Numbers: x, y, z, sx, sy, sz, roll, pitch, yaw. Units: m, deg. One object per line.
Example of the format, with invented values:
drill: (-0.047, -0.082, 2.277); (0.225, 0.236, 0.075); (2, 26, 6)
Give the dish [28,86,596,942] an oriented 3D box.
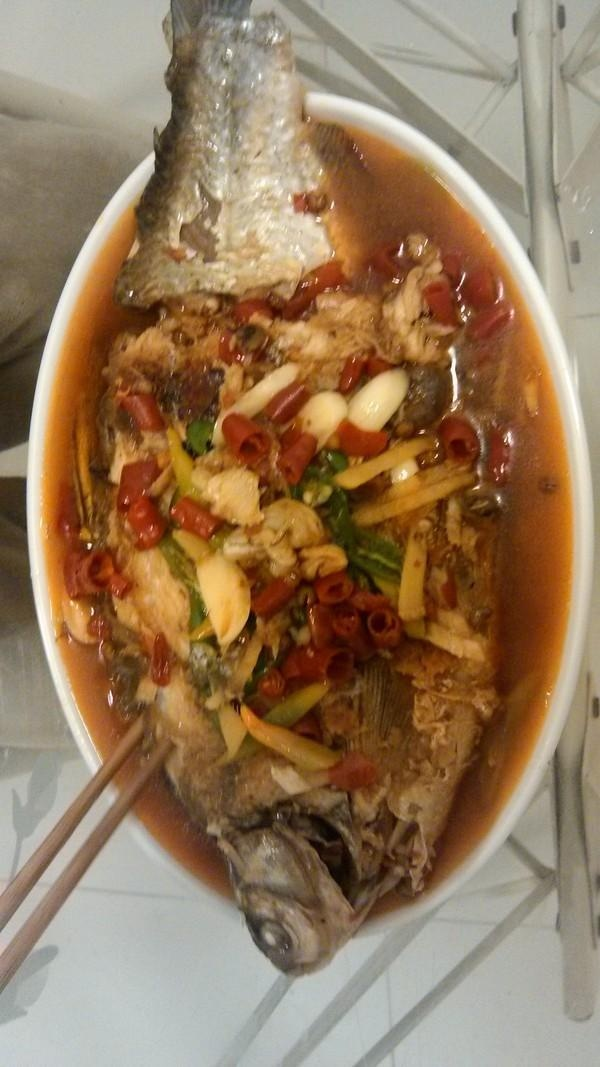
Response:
dish: (0.194, -0.017, 1.481); (0.754, 0.221, 1.072); (-4, 95, 2)
